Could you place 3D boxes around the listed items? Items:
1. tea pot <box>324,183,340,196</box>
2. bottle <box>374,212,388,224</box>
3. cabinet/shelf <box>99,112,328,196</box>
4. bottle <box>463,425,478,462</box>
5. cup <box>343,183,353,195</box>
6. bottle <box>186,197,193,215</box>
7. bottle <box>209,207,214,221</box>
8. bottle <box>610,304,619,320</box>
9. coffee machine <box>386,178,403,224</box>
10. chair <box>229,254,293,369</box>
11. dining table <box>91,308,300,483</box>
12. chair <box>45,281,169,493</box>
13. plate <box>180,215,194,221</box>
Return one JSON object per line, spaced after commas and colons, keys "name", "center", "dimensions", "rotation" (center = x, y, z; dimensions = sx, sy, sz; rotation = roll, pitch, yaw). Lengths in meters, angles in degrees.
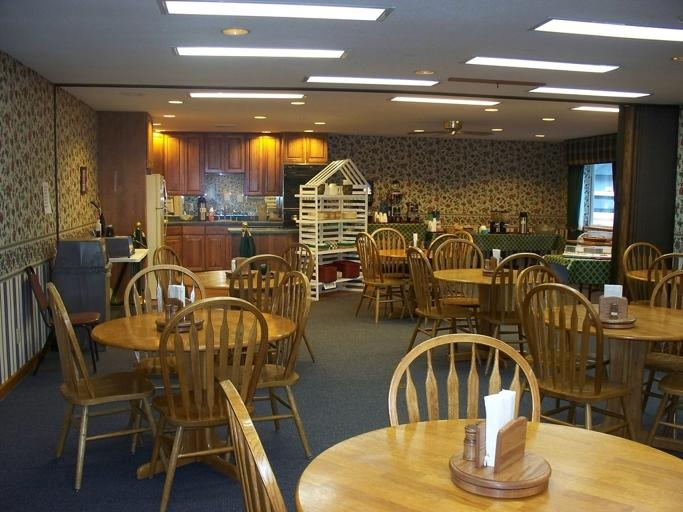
{"name": "tea pot", "center": [-0.151, -1.114, 8.673], "dimensions": [0.191, 0.203, 0.284], "rotation": [0, 2, -12]}
{"name": "bottle", "center": [0.822, -0.791, 10.735], "dimensions": [0.297, 0.269, 0.118], "rotation": [2, 7, 0]}
{"name": "cabinet/shelf", "center": [-2.047, -1.704, 9.130], "dimensions": [3.431, 1.296, 2.399], "rotation": [1, 5, -2]}
{"name": "bottle", "center": [0.399, 0.565, 1.578], "dimensions": [0.042, 0.121, 0.089], "rotation": [2, 6, 12]}
{"name": "cup", "center": [0.116, -1.131, 8.824], "dimensions": [0.165, 0.163, 0.161], "rotation": [1, 8, 0]}
{"name": "bottle", "center": [-3.189, -1.063, 10.775], "dimensions": [0.194, 0.348, 0.058], "rotation": [1, 6, 3]}
{"name": "bottle", "center": [-2.696, -0.877, 10.684], "dimensions": [0.136, 0.262, 0.297], "rotation": [-1, 5, -14]}
{"name": "bottle", "center": [1.712, 0.337, 3.211], "dimensions": [0.061, 0.113, 0.045], "rotation": [2, 6, 15]}
{"name": "coffee machine", "center": [1.196, -1.308, 11.502], "dimensions": [0.404, 0.806, 0.223], "rotation": [0, 6, -3]}
{"name": "chair", "center": [-0.732, 0.407, 4.546], "dimensions": [0.868, 0.655, 0.872], "rotation": [0, 10, -1]}
{"name": "dining table", "center": [-0.939, 0.939, 3.188], "dimensions": [1.084, 0.786, 1.105], "rotation": [4, 5, 22]}
{"name": "chair", "center": [-1.553, 0.714, 3.359], "dimensions": [0.599, 1.182, 1.130], "rotation": [-2, 6, -22]}
{"name": "plate", "center": [-3.139, -0.790, 10.551], "dimensions": [0.299, 0.108, 0.231], "rotation": [-3, 6, -40]}
